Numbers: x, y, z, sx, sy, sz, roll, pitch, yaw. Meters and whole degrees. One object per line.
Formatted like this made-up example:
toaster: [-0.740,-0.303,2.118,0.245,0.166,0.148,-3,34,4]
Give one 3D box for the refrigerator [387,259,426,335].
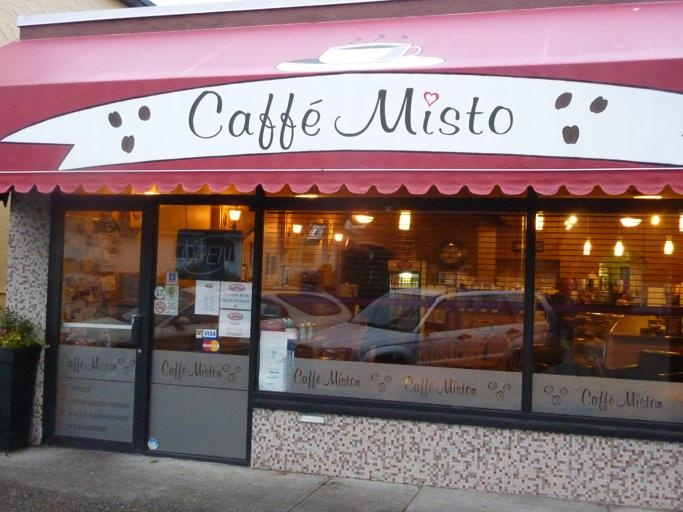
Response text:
refrigerator: [0.730,0.473,8.269,0.273,0.851,0.364,2,4,29]
